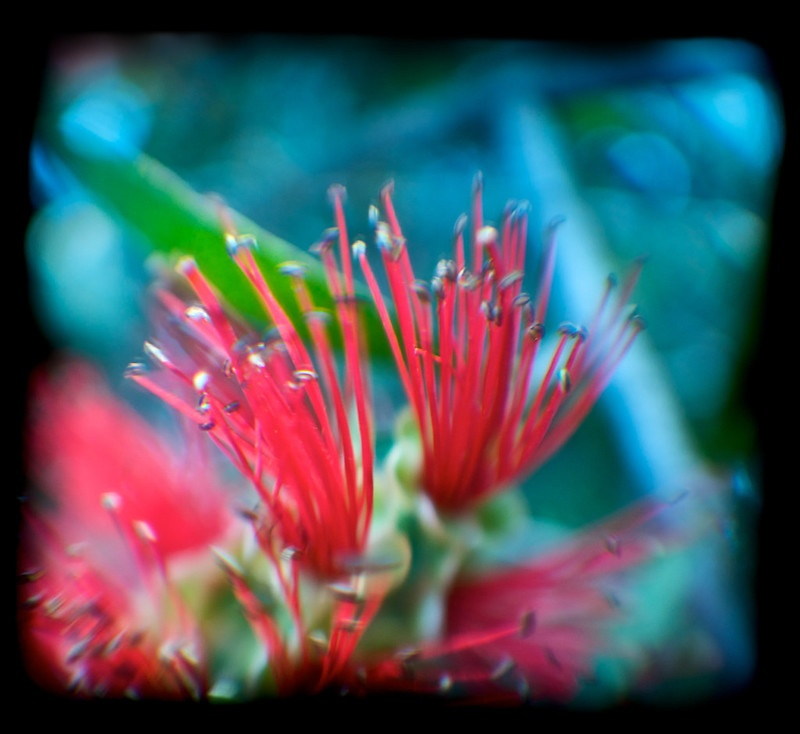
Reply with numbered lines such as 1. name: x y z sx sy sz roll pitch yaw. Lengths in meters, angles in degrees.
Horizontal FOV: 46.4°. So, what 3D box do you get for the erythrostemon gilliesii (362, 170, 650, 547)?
1. erythrostemon gilliesii: 0.055 -0.008 0.821 0.208 0.236 0.281 20 90 12
